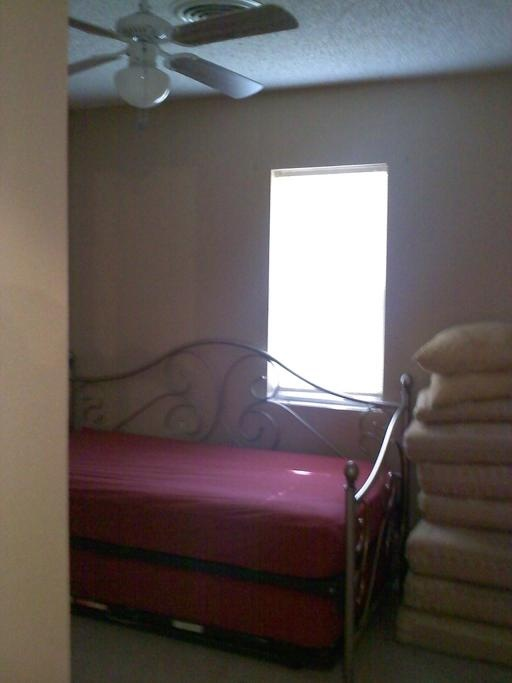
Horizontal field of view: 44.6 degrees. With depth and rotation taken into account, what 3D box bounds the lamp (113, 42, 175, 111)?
[{"bbox_3d":[-0.176,-0.414,0.962,0.076,0.118,0.028,-5,-23,1],"label":"lamp"}]
